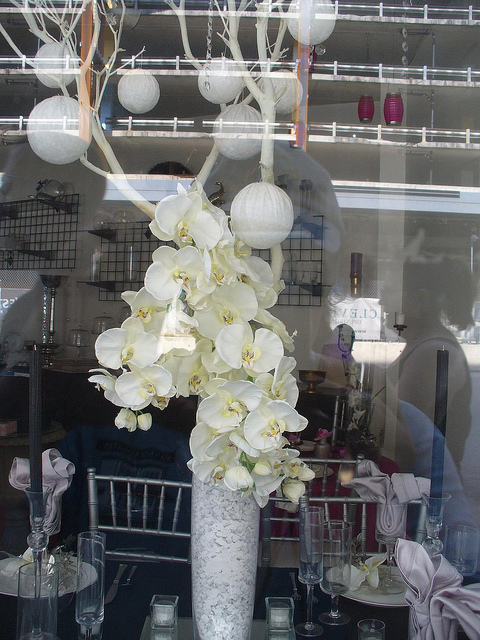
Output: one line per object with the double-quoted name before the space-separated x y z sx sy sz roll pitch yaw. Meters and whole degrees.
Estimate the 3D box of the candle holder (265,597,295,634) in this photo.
"candle holder" 0.059 0.431 1.051 0.045 0.040 0.042 1 -1 3

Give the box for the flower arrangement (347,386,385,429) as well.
"flower arrangement" 0.337 0.251 2.047 0.062 0.102 0.142 2 -5 9

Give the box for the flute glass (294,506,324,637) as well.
"flute glass" 0.106 0.398 1.144 0.050 0.155 0.060 0 4 6

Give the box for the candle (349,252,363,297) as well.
"candle" 0.333 -0.128 2.081 0.050 0.133 0.045 1 8 18

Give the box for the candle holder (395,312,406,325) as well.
"candle holder" 0.451 -0.005 2.045 0.033 0.033 0.031 2 -1 8

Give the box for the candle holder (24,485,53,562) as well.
"candle holder" -0.267 0.299 0.996 0.051 0.136 0.045 1 -6 -24

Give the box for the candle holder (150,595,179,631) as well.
"candle holder" -0.109 0.420 1.037 0.041 0.034 0.038 1 -1 3

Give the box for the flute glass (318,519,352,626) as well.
"flute glass" 0.158 0.405 1.188 0.048 0.156 0.099 2 -6 9

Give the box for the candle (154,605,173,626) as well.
"candle" -0.108 0.422 1.033 0.030 0.025 0.027 2 -1 10

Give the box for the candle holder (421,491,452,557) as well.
"candle holder" 0.278 0.286 1.044 0.050 0.091 0.080 0 5 13

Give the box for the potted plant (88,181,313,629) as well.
"potted plant" -0.046 0.108 0.900 0.273 0.572 0.139 4 -6 -9

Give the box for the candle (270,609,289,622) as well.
"candle" 0.056 0.427 1.047 0.020 0.012 0.019 2 -7 6
